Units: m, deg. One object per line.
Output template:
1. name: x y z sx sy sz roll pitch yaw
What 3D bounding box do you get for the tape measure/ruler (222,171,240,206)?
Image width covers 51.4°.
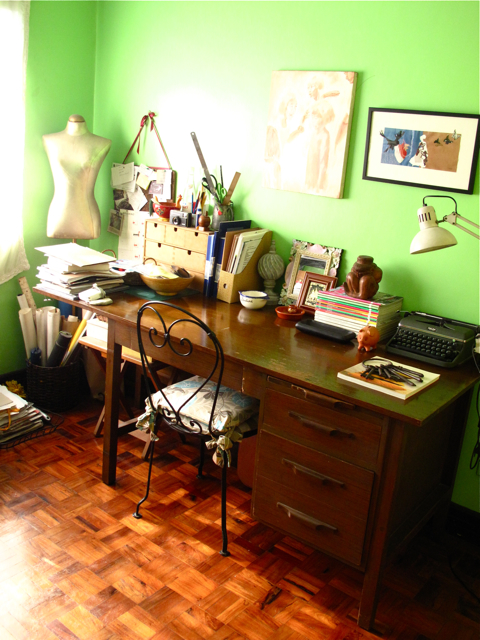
1. tape measure/ruler: -0.037 -0.620 2.356 0.070 0.159 0.109 4 12 -3

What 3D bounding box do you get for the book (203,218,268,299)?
1. book: -0.023 -0.263 2.208 0.175 0.315 0.282 26 29 30

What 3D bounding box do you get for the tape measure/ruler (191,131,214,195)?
1. tape measure/ruler: -0.181 -0.786 2.454 0.040 0.382 0.024 -16 -2 3

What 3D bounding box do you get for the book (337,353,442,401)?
1. book: 0.424 0.160 1.420 0.202 0.036 0.282 13 14 37

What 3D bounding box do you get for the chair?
1. chair: -0.185 0.328 1.900 0.470 0.878 0.487 14 16 29

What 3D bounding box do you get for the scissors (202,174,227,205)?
1. scissors: -0.123 -0.624 2.386 0.100 0.181 0.032 -15 -7 17

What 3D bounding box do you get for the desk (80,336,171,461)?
1. desk: -0.643 0.349 2.551 0.546 0.584 0.592 3 12 -9

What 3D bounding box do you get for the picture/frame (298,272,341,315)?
1. picture/frame: 0.333 -0.124 2.114 0.155 0.166 0.087 17 25 34

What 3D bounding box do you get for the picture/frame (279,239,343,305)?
1. picture/frame: 0.297 -0.230 2.171 0.242 0.275 0.077 17 27 34

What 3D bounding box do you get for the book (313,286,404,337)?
1. book: 0.449 -0.095 1.952 0.383 0.157 0.293 12 23 28

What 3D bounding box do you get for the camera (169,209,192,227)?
1. camera: -0.304 -0.495 2.417 0.067 0.076 0.168 -5 15 -39

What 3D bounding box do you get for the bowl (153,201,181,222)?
1. bowl: -0.374 -0.552 2.528 0.105 0.076 0.104 3 24 -1

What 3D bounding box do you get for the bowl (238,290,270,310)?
1. bowl: 0.041 -0.091 2.124 0.094 0.041 0.081 11 20 35
